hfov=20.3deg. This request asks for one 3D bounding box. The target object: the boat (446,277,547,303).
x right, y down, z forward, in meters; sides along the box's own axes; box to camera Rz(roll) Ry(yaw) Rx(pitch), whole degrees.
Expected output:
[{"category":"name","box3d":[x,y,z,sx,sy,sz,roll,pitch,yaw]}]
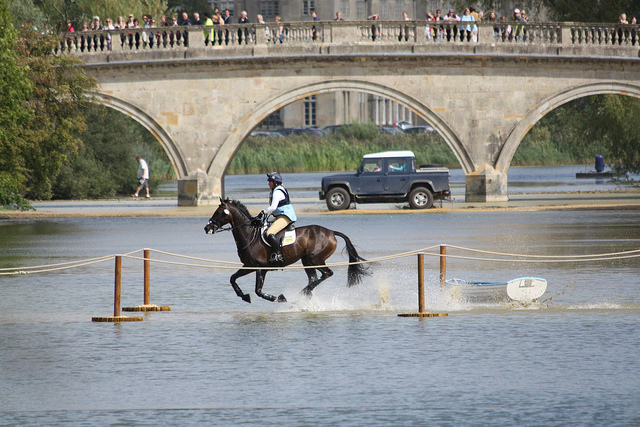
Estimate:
[{"category":"boat","box3d":[6.652,2.976,68.275,2.510,0.872,1.527,-3,0,15]}]

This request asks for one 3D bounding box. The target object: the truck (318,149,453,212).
[{"category":"truck","box3d":[3.270,-1.579,89.424,5.645,2.508,2.954,1,-1,-1]}]
